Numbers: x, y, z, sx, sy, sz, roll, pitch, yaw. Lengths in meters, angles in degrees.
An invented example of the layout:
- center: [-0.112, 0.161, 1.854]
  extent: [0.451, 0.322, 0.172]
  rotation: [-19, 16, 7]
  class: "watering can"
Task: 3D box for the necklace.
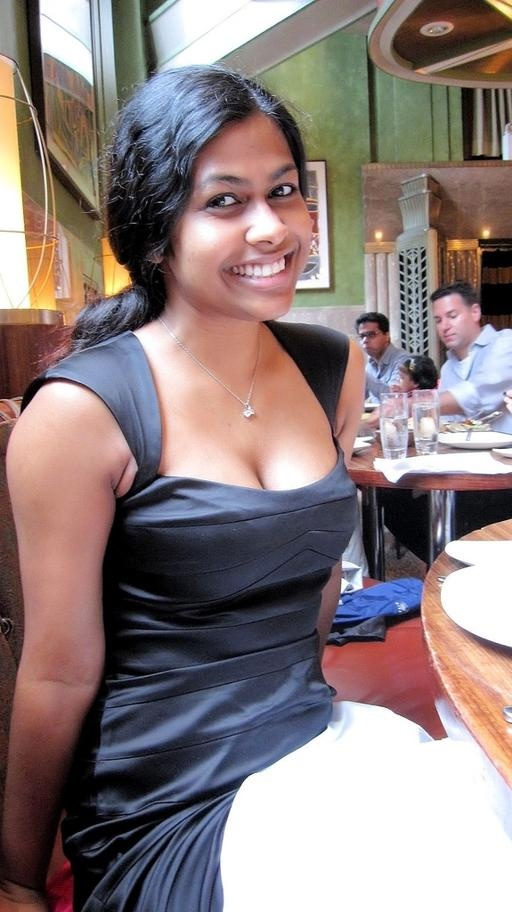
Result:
- center: [-0.042, -0.109, 0.842]
  extent: [0.029, 0.128, 0.127]
  rotation: [-15, 2, 38]
  class: "necklace"
